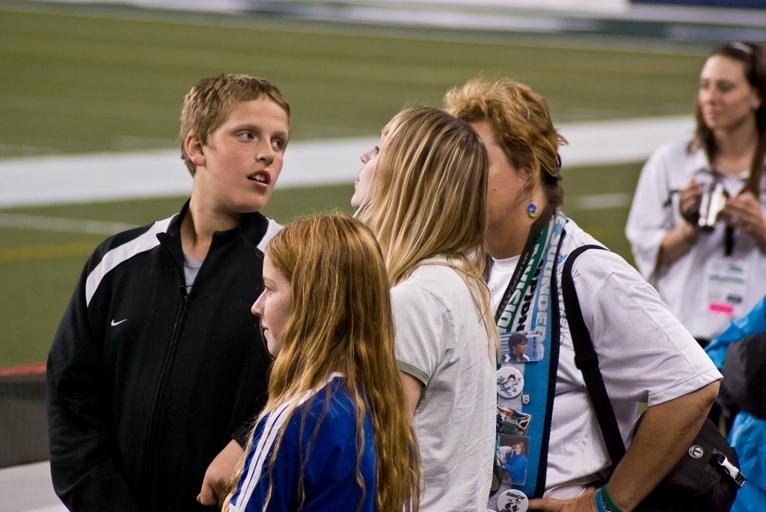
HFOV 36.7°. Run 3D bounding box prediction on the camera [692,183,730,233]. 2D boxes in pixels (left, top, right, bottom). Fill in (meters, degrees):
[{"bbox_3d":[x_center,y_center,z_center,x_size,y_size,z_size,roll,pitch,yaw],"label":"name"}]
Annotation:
[{"bbox_3d":[2.090,-0.327,7.378,0.091,0.310,0.163,16,-18,-24],"label":"camera"}]
